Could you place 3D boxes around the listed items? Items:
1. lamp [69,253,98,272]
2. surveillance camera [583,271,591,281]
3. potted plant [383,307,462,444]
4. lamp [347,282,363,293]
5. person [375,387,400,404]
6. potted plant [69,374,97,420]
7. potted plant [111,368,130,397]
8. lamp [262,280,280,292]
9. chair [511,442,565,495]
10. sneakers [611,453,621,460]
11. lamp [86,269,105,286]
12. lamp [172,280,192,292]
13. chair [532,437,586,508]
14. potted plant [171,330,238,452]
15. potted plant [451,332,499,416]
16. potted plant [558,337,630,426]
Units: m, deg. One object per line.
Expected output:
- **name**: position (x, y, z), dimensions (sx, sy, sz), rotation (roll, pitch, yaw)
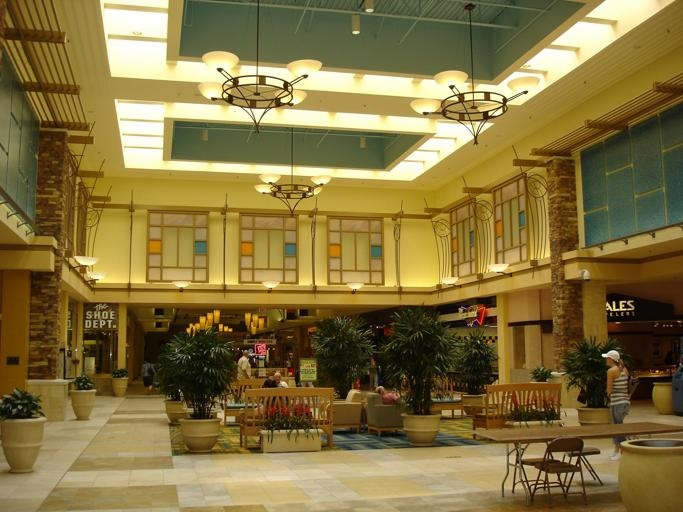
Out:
- **lamp**: position (-10.118, 0.240, 21.844), dimensions (0.825, 0.453, 0.770), rotation (5, -15, -30)
- **surveillance camera**: position (8.165, 0.602, 18.626), dimensions (0.251, 0.334, 0.555), rotation (-2, -10, 23)
- **potted plant**: position (1.793, 2.718, 12.929), dimensions (1.620, 3.085, 0.838), rotation (1, -10, 8)
- **lamp**: position (0.678, 1.527, 27.655), dimensions (0.644, 0.381, 0.586), rotation (1, -8, -2)
- **person**: position (1.177, 3.551, 14.226), dimensions (0.829, 0.271, 0.750), rotation (4, 1, -1)
- **potted plant**: position (-8.045, 4.371, 17.342), dimensions (0.715, 1.243, 1.324), rotation (6, -10, -24)
- **potted plant**: position (-10.195, 5.789, 25.685), dimensions (0.645, 1.247, 0.862), rotation (6, -11, -23)
- **lamp**: position (-3.424, 1.427, 26.864), dimensions (0.633, 0.258, 0.600), rotation (5, -12, -36)
- **chair**: position (2.882, 3.032, 8.243), dimensions (0.614, 0.830, 0.667), rotation (3, -20, 2)
- **sneakers**: position (5.065, 3.705, 10.326), dimensions (0.231, 0.076, 0.075), rotation (2, -9, -11)
- **lamp**: position (-10.567, 0.891, 24.032), dimensions (1.111, 0.647, 1.103), rotation (1, -8, -13)
- **lamp**: position (-7.621, 1.405, 26.560), dimensions (0.747, 0.488, 0.418), rotation (3, -10, -11)
- **chair**: position (3.039, 2.979, 8.001), dimensions (0.651, 0.792, 0.656), rotation (13, -9, -14)
- **potted plant**: position (-3.003, 2.842, 11.908), dimensions (1.335, 2.537, 1.014), rotation (5, -10, -15)
- **potted plant**: position (4.504, 3.684, 17.802), dimensions (1.612, 2.504, 1.609), rotation (14, -17, -26)
- **potted plant**: position (6.133, 3.486, 14.581), dimensions (1.766, 1.946, 1.779), rotation (-23, -24, 34)
